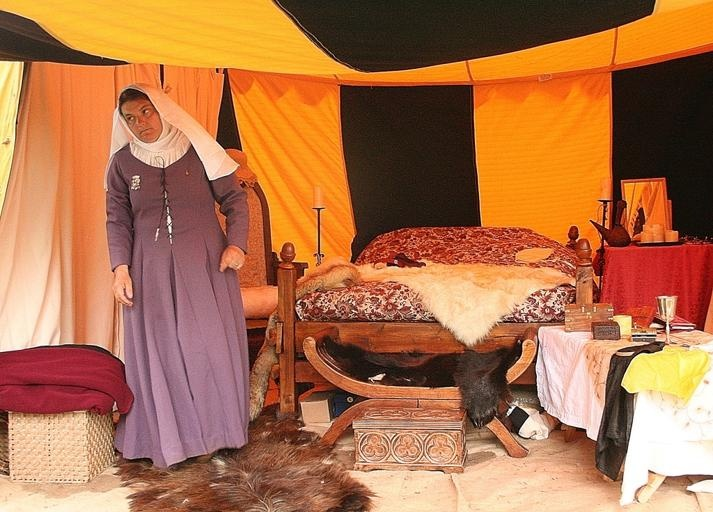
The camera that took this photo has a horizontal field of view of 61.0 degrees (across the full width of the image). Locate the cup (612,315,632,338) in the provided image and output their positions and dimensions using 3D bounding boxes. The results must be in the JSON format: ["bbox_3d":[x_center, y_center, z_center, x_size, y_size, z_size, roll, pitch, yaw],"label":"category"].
[{"bbox_3d":[1.675,0.437,3.790,0.139,0.139,0.132,0,5,0],"label":"cup"}]

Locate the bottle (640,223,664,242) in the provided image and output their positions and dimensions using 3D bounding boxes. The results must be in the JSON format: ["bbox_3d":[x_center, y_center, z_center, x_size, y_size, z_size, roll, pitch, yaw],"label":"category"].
[{"bbox_3d":[2.523,-0.208,5.217,0.203,0.130,0.136,1,0,10],"label":"bottle"}]

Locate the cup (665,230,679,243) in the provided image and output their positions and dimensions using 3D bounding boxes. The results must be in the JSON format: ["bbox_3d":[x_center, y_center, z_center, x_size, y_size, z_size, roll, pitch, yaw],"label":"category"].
[{"bbox_3d":[2.679,-0.174,5.191,0.117,0.103,0.115,1,-3,0],"label":"cup"}]

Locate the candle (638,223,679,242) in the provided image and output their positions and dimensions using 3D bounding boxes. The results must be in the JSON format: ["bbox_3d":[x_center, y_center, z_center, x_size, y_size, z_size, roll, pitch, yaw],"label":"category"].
[{"bbox_3d":[2.553,-0.179,5.211,0.235,0.099,0.211,1,0,-9],"label":"candle"}]

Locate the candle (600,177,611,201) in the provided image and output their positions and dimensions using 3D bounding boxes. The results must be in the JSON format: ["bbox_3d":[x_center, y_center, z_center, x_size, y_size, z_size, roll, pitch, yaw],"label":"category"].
[{"bbox_3d":[2.347,-0.637,5.720,0.080,0.216,0.162,3,8,16],"label":"candle"}]

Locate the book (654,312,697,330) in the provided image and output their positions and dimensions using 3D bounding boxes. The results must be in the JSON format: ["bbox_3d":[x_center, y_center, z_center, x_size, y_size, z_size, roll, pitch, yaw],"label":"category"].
[{"bbox_3d":[1.989,0.422,3.805,0.198,0.047,0.189,0,3,8],"label":"book"}]

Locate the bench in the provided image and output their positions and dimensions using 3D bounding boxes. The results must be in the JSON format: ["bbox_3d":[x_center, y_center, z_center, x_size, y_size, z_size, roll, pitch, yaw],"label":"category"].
[{"bbox_3d":[0.692,0.905,4.445,0.855,0.891,1.932,10,-3,23],"label":"bench"}]

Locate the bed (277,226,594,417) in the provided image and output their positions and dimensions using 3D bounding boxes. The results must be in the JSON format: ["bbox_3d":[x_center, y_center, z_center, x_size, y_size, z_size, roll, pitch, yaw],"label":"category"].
[{"bbox_3d":[0.858,0.122,5.312,2.309,0.487,1.897,-28,25,-35],"label":"bed"}]
